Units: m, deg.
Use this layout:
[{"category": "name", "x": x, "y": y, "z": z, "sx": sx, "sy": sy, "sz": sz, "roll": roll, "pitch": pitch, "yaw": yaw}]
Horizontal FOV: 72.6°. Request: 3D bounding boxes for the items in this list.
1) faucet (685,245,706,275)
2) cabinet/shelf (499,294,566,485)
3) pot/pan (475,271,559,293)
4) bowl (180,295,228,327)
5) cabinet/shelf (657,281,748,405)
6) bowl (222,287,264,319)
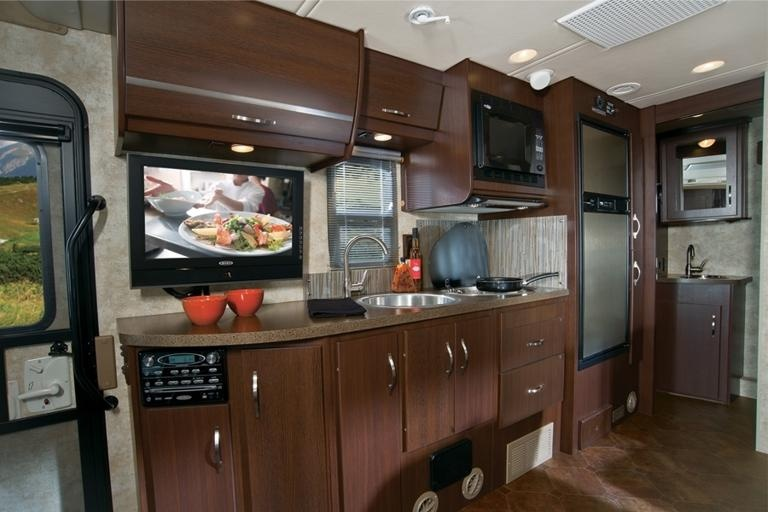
[{"category": "faucet", "x": 3.019, "y": 0.040, "z": 5.067, "sx": 0.259, "sy": 0.289, "sz": 0.157, "roll": -16, "pitch": 20, "yaw": -42}, {"category": "cabinet/shelf", "x": 1.069, "y": 0.958, "z": 3.822, "sx": 0.270, "sy": 1.233, "sz": 0.893, "roll": 12, "pitch": 21, "yaw": 42}, {"category": "pot/pan", "x": 1.045, "y": 0.163, "z": 3.990, "sx": 0.585, "sy": 0.076, "sz": 0.236, "roll": 0, "pitch": -5, "yaw": -34}, {"category": "bowl", "x": -1.046, "y": 0.312, "z": 3.034, "sx": 0.207, "sy": 0.118, "sz": 0.201, "roll": -2, "pitch": -4, "yaw": 0}, {"category": "cabinet/shelf", "x": 2.856, "y": 0.751, "z": 4.829, "sx": 0.712, "sy": 1.153, "sz": 0.278, "roll": 8, "pitch": 19, "yaw": 35}, {"category": "bowl", "x": -0.865, "y": 0.288, "z": 3.220, "sx": 0.195, "sy": 0.123, "sz": 0.195, "roll": -3, "pitch": 0, "yaw": 0}]
